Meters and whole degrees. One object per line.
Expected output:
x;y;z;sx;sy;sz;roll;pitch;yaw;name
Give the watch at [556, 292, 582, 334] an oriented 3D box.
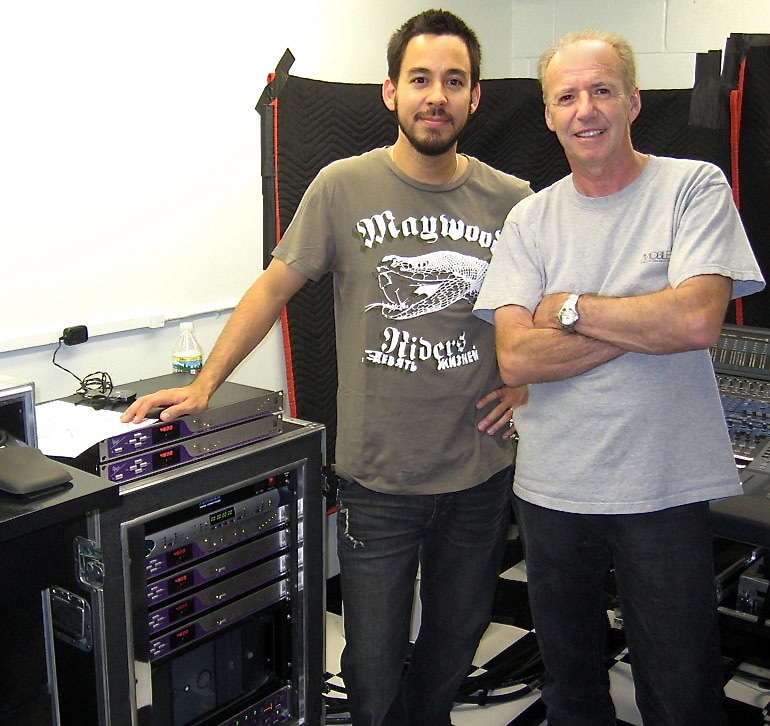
0.363;-0.098;1.370;0.041;0.069;0.041;1;13;13;watch
